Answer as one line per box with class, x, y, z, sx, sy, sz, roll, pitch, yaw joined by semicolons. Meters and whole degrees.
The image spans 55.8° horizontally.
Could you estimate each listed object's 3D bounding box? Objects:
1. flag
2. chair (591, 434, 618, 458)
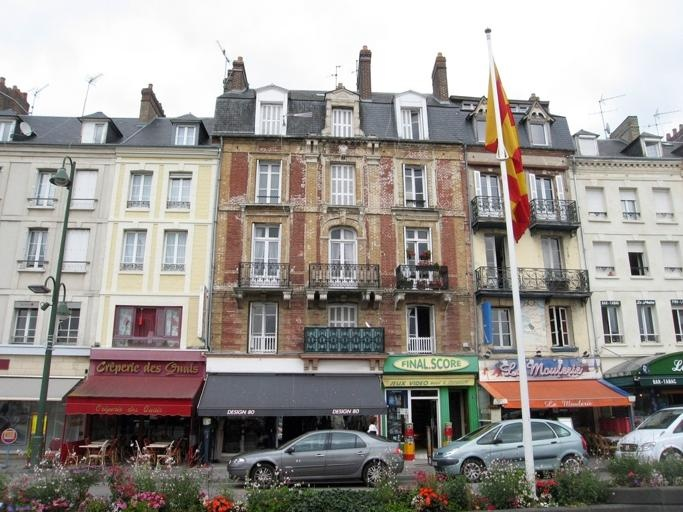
flag;5.385;-3.494;21.217;0.929;5.075;2.719;-7;-16;20
chair;10.594;7.633;26.058;0.921;0.883;1.692;-6;-16;16
